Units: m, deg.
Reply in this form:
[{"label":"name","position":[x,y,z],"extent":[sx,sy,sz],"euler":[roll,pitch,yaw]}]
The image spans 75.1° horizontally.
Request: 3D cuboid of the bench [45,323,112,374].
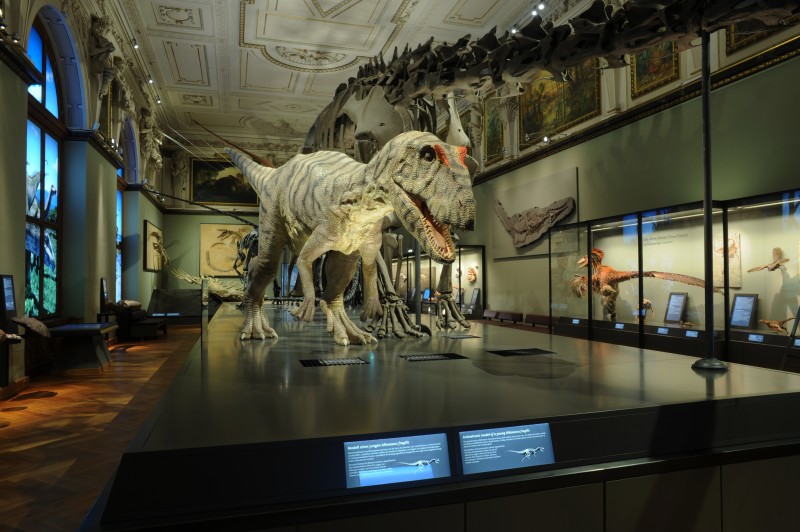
[{"label":"bench","position":[-4.447,1.155,7.278],"extent":[0.749,0.761,0.773],"euler":[-4,9,-35]}]
